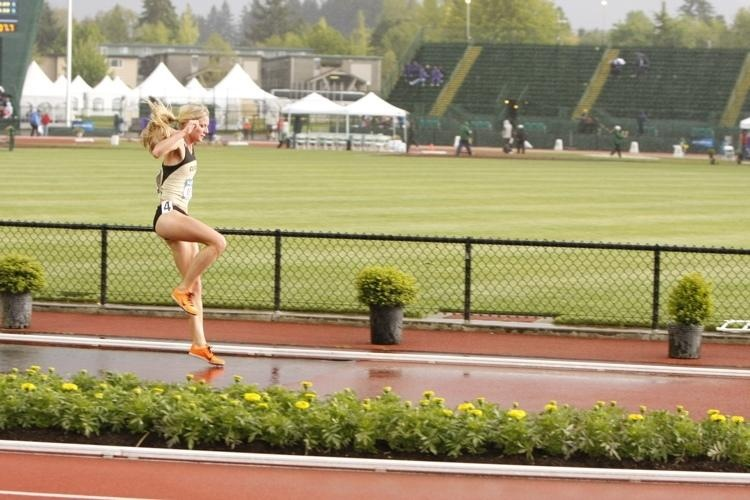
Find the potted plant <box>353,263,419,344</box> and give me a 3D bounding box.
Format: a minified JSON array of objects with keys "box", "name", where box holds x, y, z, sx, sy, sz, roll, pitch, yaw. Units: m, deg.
[{"box":[0.427,2.240,77.653,2.408,3.097,1.922,0,-1,-4],"name":"potted plant"}]
